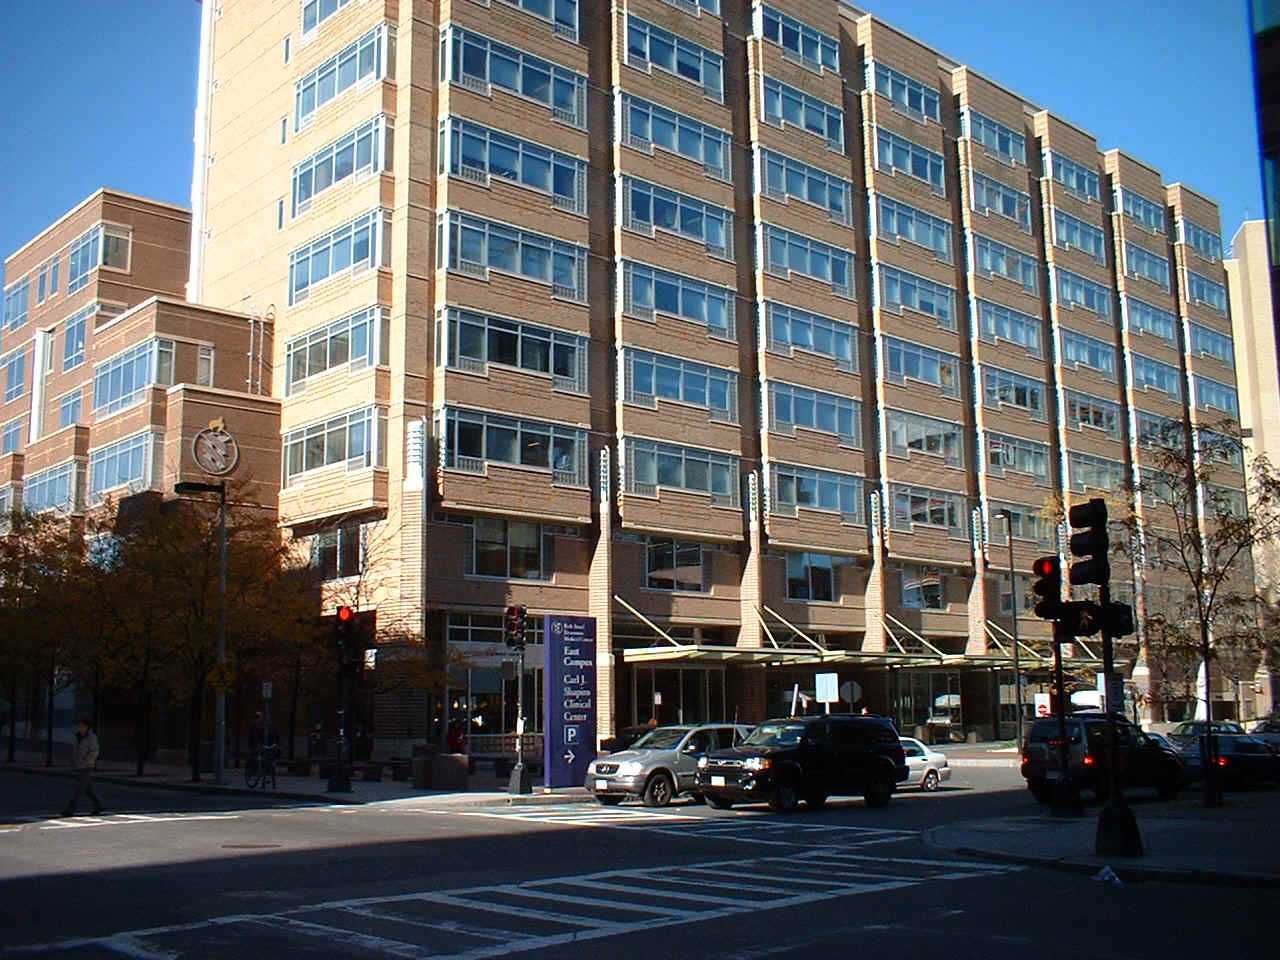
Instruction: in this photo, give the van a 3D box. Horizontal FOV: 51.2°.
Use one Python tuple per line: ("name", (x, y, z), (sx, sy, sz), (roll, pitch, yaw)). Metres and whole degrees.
("van", (4.226, 7.065, 33.424), (4.600, 2.232, 1.417), (7, -18, -29))
